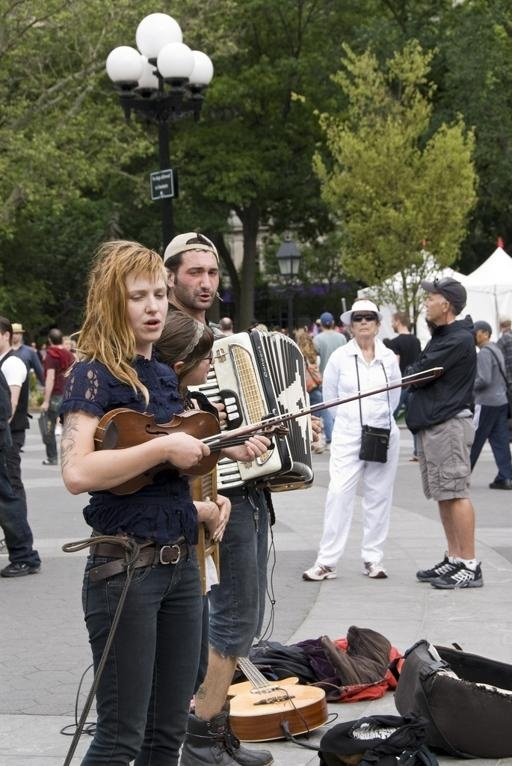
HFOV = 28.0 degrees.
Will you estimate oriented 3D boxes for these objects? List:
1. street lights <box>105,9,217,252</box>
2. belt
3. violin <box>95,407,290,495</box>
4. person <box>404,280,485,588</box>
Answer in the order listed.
[{"bbox_3d":[-0.974,-2.937,10.036,0.787,3.297,0.894,-4,11,1],"label":"street lights"},{"bbox_3d":[-0.308,0.460,2.711,0.283,0.103,0.139,-4,4,-8],"label":"belt"},{"bbox_3d":[-0.172,0.125,2.733,0.234,0.288,0.461,1,2,38],"label":"violin"},{"bbox_3d":[1.264,0.327,6.933,0.626,2.003,0.762,-1,-5,25],"label":"person"}]
